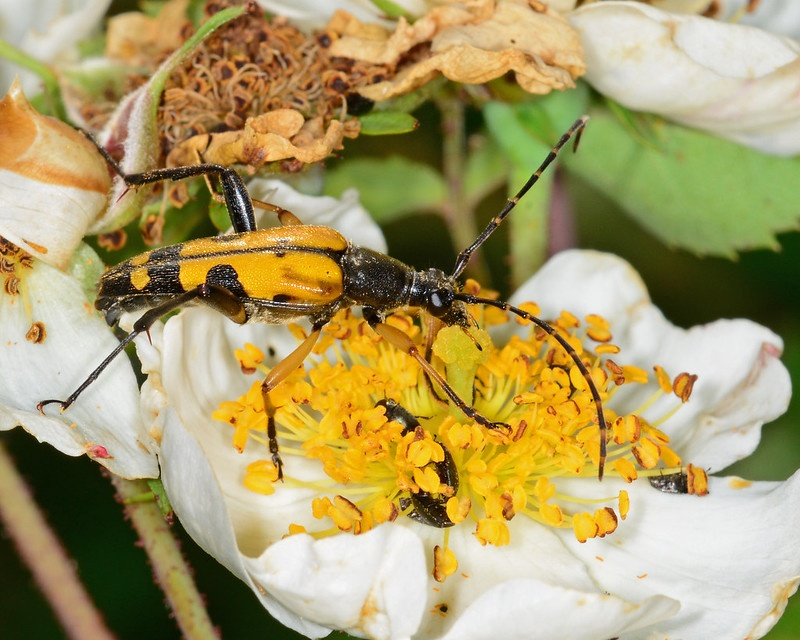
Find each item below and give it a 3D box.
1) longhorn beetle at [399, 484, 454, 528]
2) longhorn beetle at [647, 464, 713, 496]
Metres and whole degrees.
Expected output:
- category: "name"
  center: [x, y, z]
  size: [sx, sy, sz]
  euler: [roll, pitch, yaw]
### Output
- category: "longhorn beetle"
  center: [0.050, 0.368, 1.697]
  size: [0.109, 0.107, 0.065]
  euler: [6, 79, 4]
- category: "longhorn beetle"
  center: [0.563, 0.329, 1.773]
  size: [0.099, 0.057, 0.042]
  euler: [-6, 53, 22]
